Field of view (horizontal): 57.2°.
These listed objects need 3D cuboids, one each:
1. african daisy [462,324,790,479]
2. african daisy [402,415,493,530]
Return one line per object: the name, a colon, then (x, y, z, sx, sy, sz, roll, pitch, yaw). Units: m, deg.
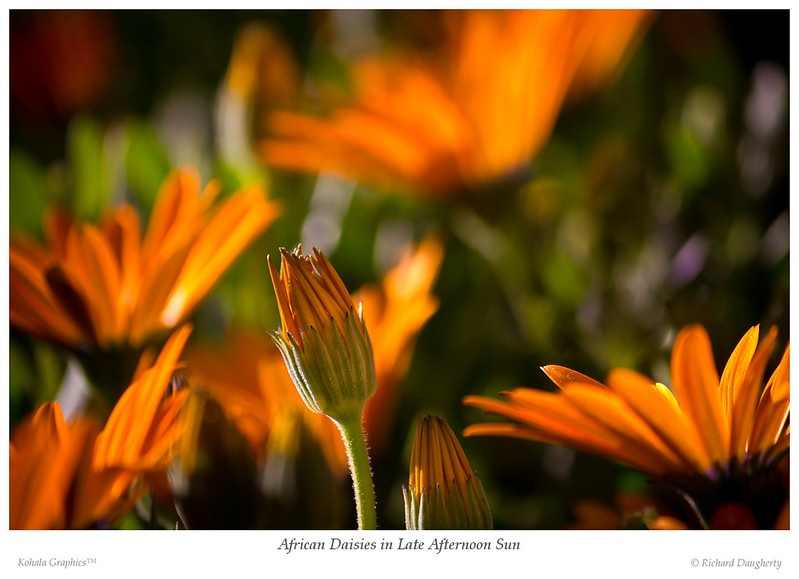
african daisy: (0.196, 0.098, 0.540, 0.137, 0.058, 0.146, -2, -17, -20)
african daisy: (0.034, 0.143, 0.564, 0.071, 0.092, 0.090, -3, -9, 6)
